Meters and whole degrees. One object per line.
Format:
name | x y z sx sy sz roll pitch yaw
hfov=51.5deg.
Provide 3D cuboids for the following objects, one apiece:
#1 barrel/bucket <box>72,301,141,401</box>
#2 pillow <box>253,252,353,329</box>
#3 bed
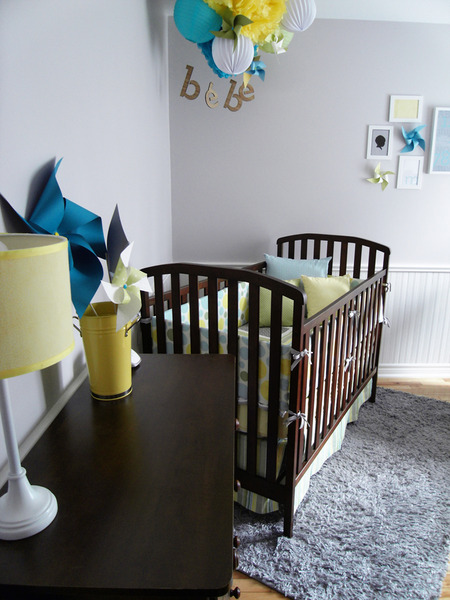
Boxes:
barrel/bucket | -0.267 0.119 1.059 0.108 0.189 0.100 -3 11 1
pillow | 0.431 -0.061 2.419 0.441 0.158 0.354 -19 42 -36
bed | 0.318 0.232 2.224 0.678 0.952 1.290 9 15 33
